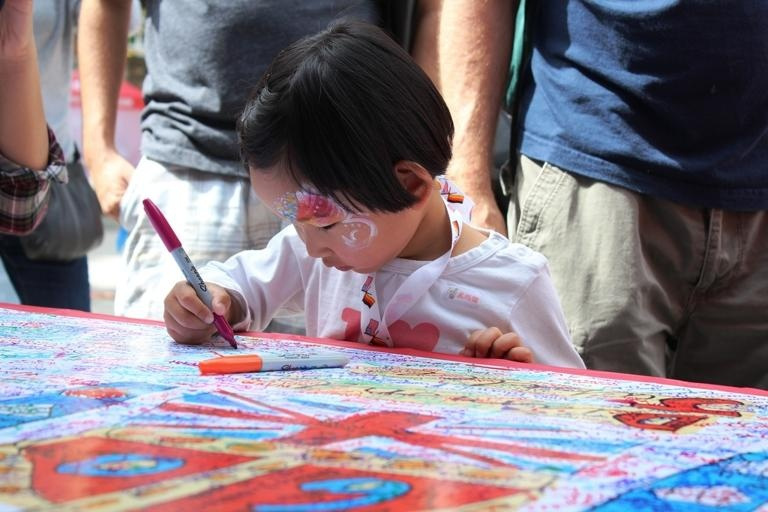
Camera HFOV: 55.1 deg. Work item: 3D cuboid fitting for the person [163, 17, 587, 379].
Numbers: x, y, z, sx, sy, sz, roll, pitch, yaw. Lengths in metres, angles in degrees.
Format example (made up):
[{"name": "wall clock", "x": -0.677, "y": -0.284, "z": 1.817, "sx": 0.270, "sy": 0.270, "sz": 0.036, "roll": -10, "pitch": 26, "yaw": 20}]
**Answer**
[{"name": "person", "x": 0.003, "y": 0.051, "z": 1.773, "sx": 0.978, "sy": 1.099, "sz": 0.711, "roll": 8, "pitch": 23, "yaw": 21}]
